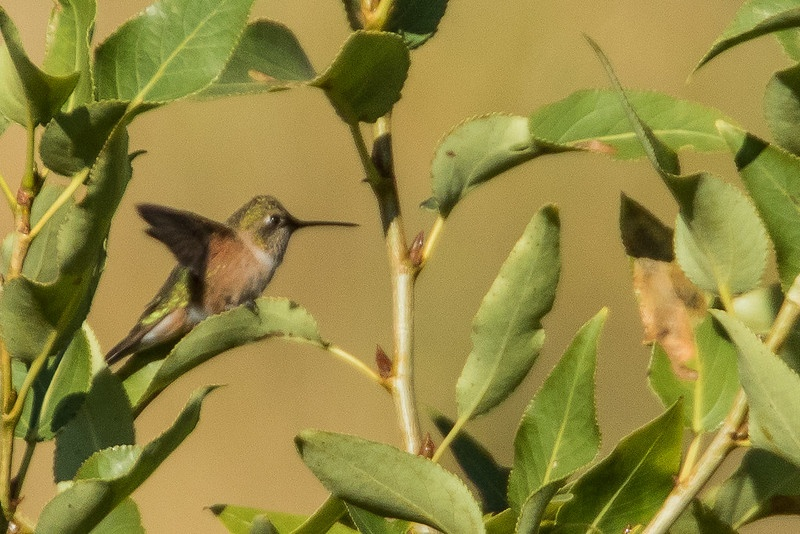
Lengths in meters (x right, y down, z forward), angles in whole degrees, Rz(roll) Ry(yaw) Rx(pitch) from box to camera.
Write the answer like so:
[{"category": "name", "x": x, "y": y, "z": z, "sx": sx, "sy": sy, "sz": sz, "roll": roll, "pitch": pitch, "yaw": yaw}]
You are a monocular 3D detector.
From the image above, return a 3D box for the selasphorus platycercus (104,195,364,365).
[{"category": "selasphorus platycercus", "x": -0.329, "y": -0.001, "z": 2.441, "sx": 0.341, "sy": 0.373, "sz": 0.176, "roll": -6, "pitch": -87, "yaw": -2}]
